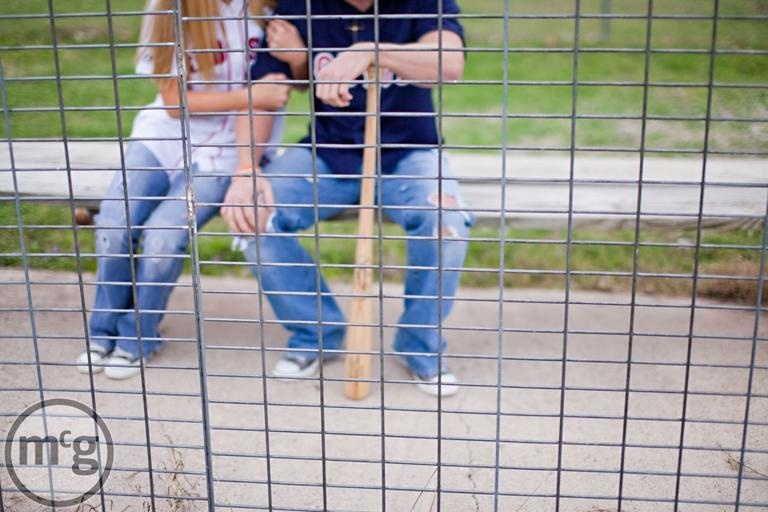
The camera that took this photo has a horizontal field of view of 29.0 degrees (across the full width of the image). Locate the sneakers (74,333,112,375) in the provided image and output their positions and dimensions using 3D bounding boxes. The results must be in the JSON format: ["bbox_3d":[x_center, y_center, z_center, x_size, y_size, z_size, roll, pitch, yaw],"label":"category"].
[{"bbox_3d":[-1.157,0.400,5.892,0.139,0.135,0.337,1,-2,-5],"label":"sneakers"}]

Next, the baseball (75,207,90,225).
[{"bbox_3d":[-1.255,-0.168,6.135,0.062,0.064,0.066,-5,-20,-17],"label":"baseball"}]

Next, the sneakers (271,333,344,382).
[{"bbox_3d":[-0.363,0.428,5.979,0.135,0.141,0.397,-6,-3,41],"label":"sneakers"}]
